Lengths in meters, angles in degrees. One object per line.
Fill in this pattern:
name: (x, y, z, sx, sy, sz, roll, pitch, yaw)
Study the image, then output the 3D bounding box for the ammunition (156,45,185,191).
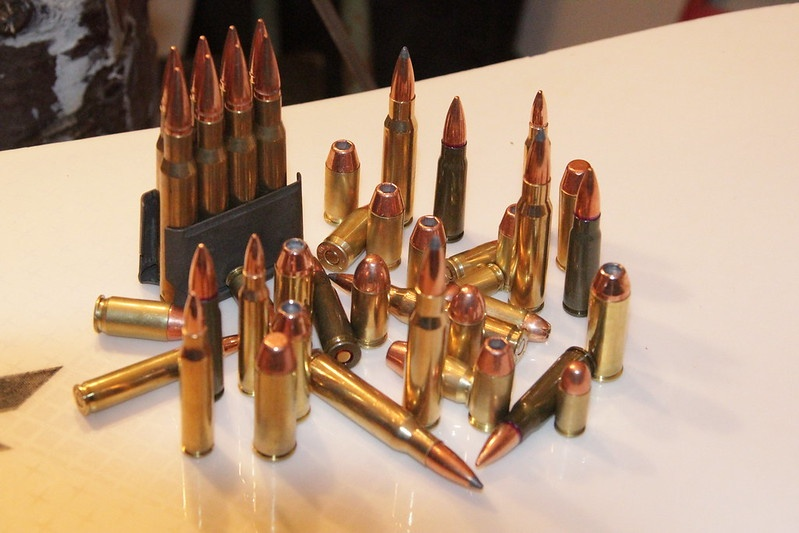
ammunition: (-0.607, -0.371, 2.057, 0.076, 0.457, 0.082, 27, 59, -7)
